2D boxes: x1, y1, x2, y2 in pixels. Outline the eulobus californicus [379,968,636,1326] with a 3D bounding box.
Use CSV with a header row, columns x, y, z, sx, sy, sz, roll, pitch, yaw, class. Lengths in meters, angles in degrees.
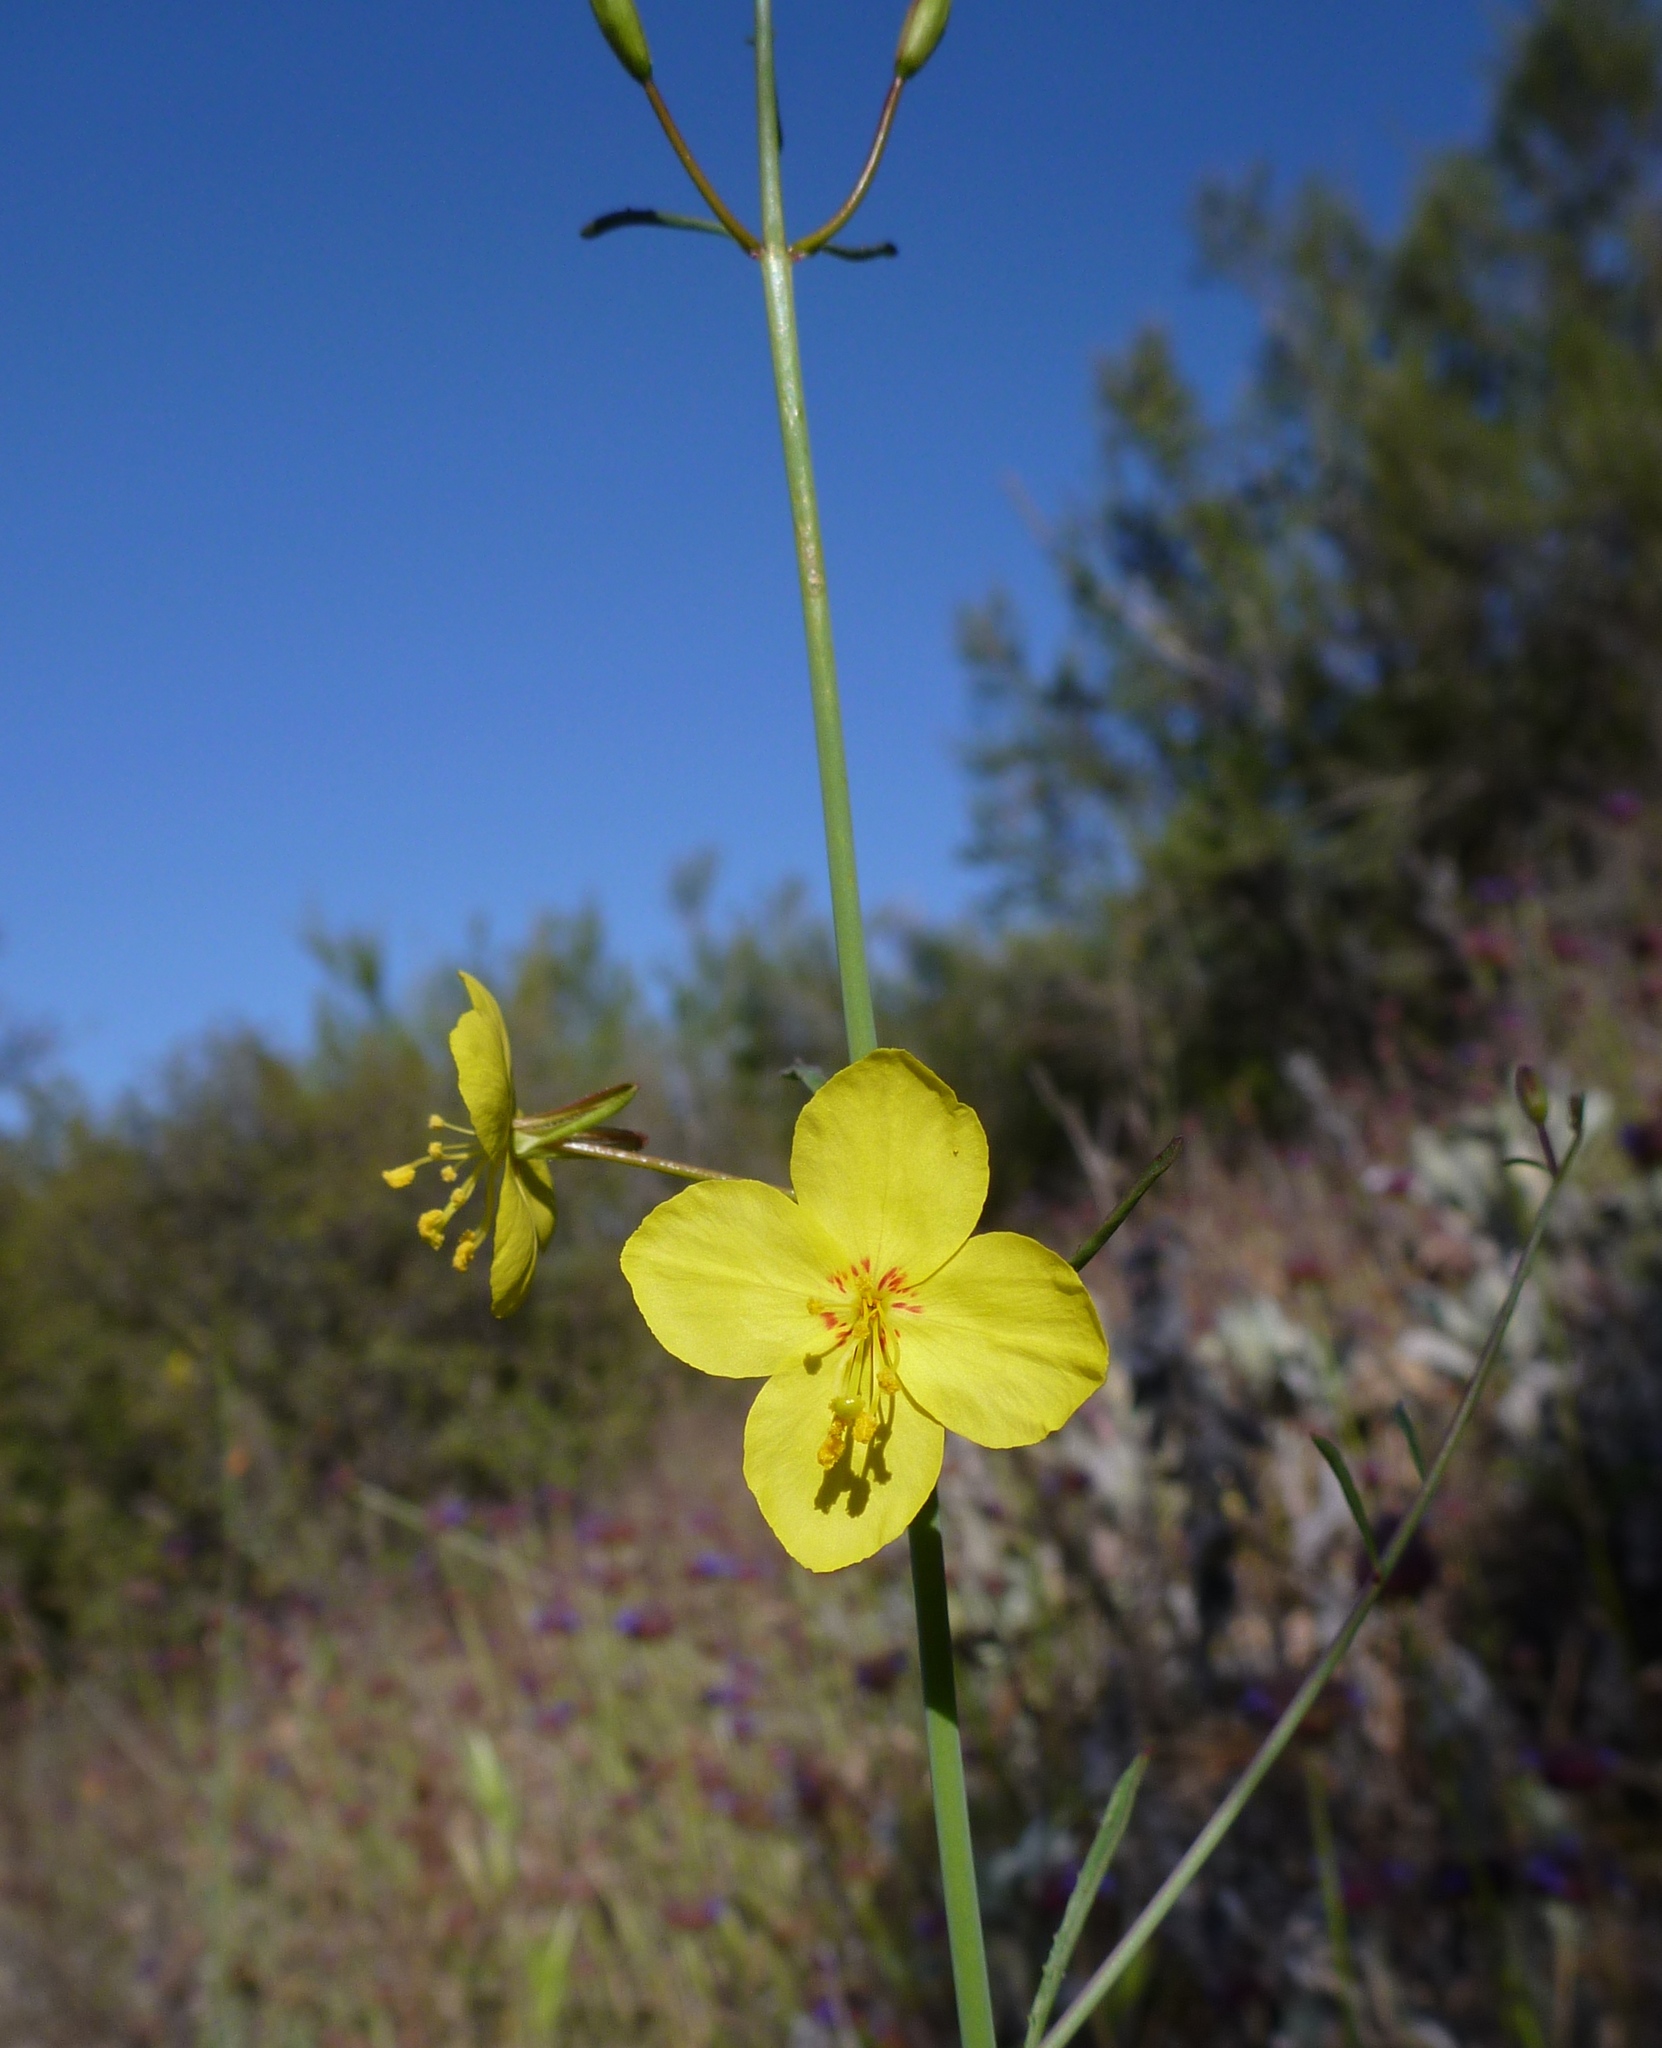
x,y,z,sx,sy,sz,roll,pitch,yaw,class
-0.244,0.094,1.508,0.193,0.255,0.172,-5,12,-11,eulobus californicus
